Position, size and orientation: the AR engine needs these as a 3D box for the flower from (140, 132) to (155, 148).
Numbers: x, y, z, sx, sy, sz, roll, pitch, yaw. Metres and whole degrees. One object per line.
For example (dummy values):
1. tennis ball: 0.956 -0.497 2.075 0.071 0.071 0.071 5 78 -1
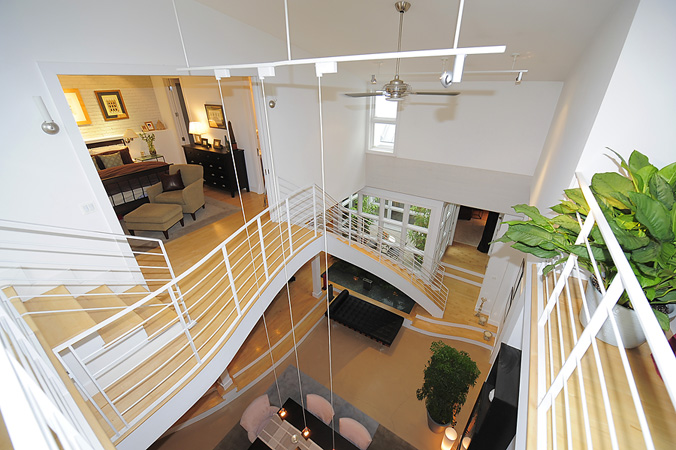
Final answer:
1. flower: -4.305 -1.917 8.696 0.370 0.431 0.101 -7 43 -14

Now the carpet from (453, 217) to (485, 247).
1. carpet: 3.980 0.239 11.872 0.866 0.100 0.973 8 40 28

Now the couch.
1. couch: 0.534 1.950 8.032 1.509 0.354 0.936 20 35 20

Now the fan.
1. fan: 0.875 -2.121 4.987 1.026 1.333 3.577 2 26 9

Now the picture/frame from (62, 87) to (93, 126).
1. picture/frame: -5.232 -2.362 7.816 0.295 0.733 0.136 -26 35 -38

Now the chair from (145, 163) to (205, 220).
1. chair: -2.938 -0.617 7.145 0.938 0.908 0.968 -10 20 -20

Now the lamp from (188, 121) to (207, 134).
1. lamp: -3.002 -2.051 8.288 0.359 0.303 0.325 -10 28 -16

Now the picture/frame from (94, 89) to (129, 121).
1. picture/frame: -4.847 -2.547 8.213 0.050 0.579 0.665 -2 16 26

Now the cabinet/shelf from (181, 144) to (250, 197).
1. cabinet/shelf: -2.452 -1.098 7.838 1.116 0.788 0.429 22 44 24

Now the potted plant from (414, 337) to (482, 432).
1. potted plant: 1.685 2.556 6.066 0.740 1.534 0.884 -11 46 -9

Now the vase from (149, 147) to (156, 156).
1. vase: -4.216 -1.669 8.837 0.117 0.156 0.157 5 2 -12

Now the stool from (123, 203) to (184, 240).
1. stool: -3.096 -0.043 6.539 0.778 0.371 0.610 -2 19 0
